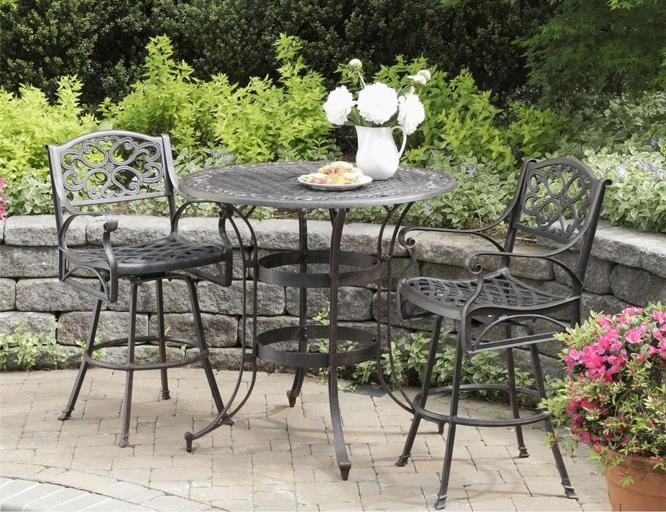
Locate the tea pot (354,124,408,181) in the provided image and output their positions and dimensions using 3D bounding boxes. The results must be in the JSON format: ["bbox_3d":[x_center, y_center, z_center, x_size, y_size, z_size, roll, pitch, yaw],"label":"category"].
[{"bbox_3d":[0.231,-0.542,3.517,0.302,0.251,0.230,-13,22,-32],"label":"tea pot"}]

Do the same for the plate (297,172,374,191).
[{"bbox_3d":[0.008,-0.365,3.255,0.357,0.068,0.195,2,18,0],"label":"plate"}]

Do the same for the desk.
[{"bbox_3d":[-0.163,0.112,3.754,1.544,1.554,1.471,6,16,11],"label":"desk"}]

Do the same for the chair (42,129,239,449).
[{"bbox_3d":[-1.090,0.159,4.011,1.164,1.773,1.022,-13,23,-42],"label":"chair"}]

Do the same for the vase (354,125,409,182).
[{"bbox_3d":[0.240,-0.542,3.537,0.230,0.286,0.235,-12,20,-36],"label":"vase"}]

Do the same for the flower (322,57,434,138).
[{"bbox_3d":[0.216,-0.882,3.528,0.638,0.307,0.546,1,19,2],"label":"flower"}]
